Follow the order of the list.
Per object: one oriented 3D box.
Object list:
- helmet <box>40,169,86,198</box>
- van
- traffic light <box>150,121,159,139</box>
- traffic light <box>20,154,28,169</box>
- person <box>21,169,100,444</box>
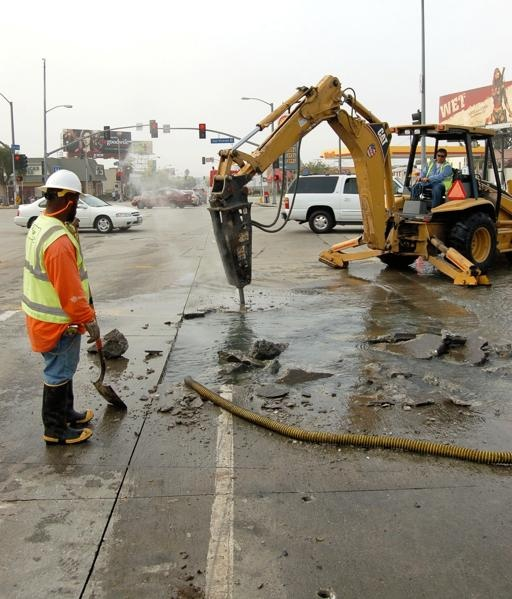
[{"bbox_3d":[-1.321,-0.796,3.288,0.223,0.122,0.247,6,3,16],"label":"helmet"},{"bbox_3d":[4.068,-3.811,19.257,5.912,2.250,2.606,-2,13,1],"label":"van"},{"bbox_3d":[-8.573,-14.394,40.223,0.562,1.122,1.287,-3,11,-4],"label":"traffic light"},{"bbox_3d":[-19.916,-11.833,40.763,0.520,1.221,1.513,-6,12,-19],"label":"traffic light"},{"bbox_3d":[-1.361,0.060,3.301,0.480,1.885,0.552,-6,13,-18],"label":"person"}]
